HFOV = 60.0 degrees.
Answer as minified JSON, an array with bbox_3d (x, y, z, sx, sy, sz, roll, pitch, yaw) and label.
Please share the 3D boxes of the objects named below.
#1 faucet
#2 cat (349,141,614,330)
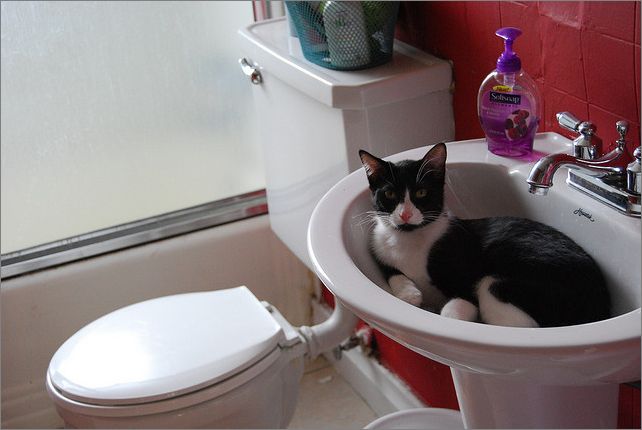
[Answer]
[{"bbox_3d":[0.415,-0.090,0.883,0.171,0.102,0.041,-5,22,-10],"label":"faucet"},{"bbox_3d":[0.291,0.057,0.996,0.424,0.314,0.228,5,-1,9],"label":"cat"}]
